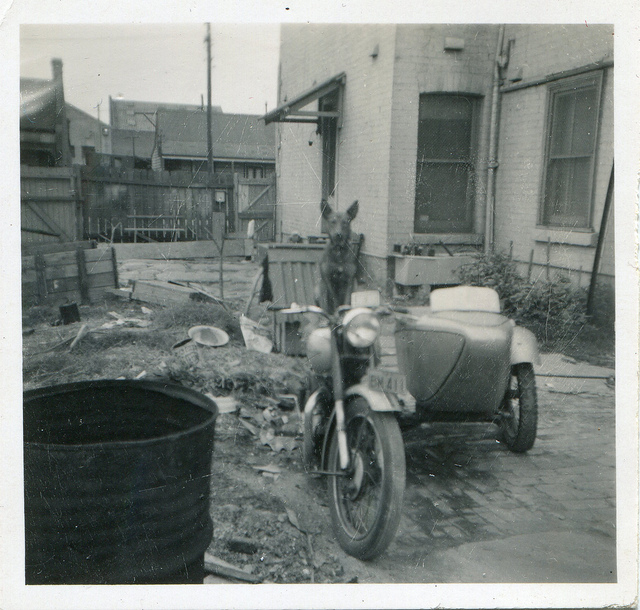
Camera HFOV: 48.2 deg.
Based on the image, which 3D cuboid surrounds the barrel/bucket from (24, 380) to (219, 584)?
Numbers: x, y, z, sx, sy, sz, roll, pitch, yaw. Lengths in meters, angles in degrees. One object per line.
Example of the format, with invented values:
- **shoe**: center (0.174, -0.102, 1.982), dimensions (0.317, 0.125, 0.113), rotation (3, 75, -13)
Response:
- **barrel/bucket**: center (-0.928, 0.763, 3.353), dimensions (0.813, 1.137, 0.912), rotation (1, 3, -11)
